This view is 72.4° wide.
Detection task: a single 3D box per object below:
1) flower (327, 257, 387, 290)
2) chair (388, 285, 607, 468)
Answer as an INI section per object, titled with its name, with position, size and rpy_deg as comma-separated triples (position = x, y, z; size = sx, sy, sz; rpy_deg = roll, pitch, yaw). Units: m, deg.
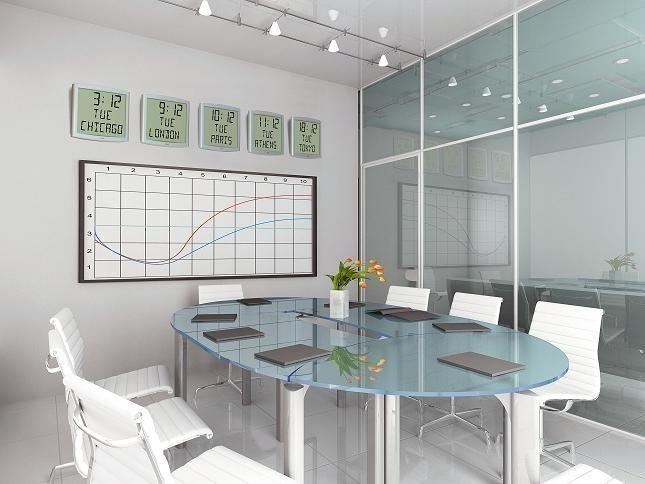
[flower]
position = 0.400, 0.353, 4.925
size = 0.449, 0.338, 0.443
rpy_deg = -15, -4, 11
[chair]
position = 1.376, 0.942, 3.743
size = 1.260, 1.540, 1.244
rpy_deg = 7, -8, -30
